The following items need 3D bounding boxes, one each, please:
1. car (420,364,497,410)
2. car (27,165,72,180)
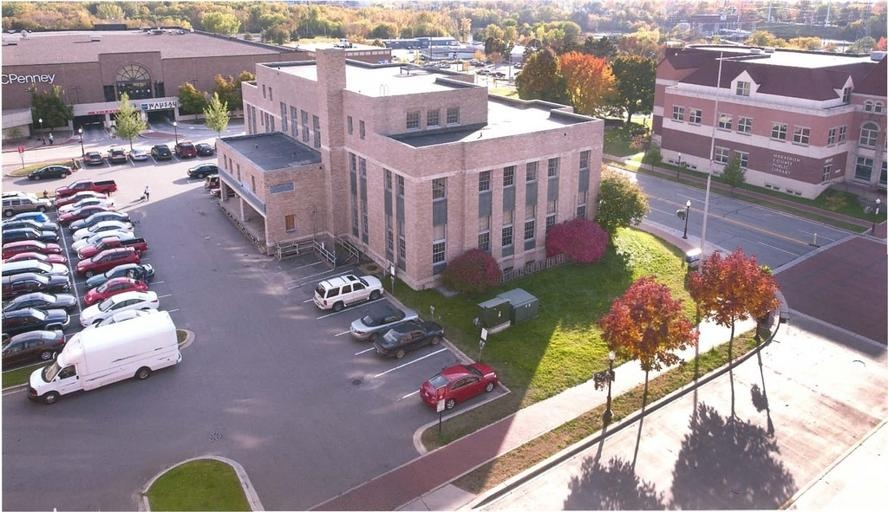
[{"bbox_3d":[1.573,11.239,49.876,6.840,2.146,2.968,-20,42,-22],"label":"car"},{"bbox_3d":[-57.459,-12.393,85.536,6.085,1.867,2.438,-4,26,-23],"label":"car"}]
